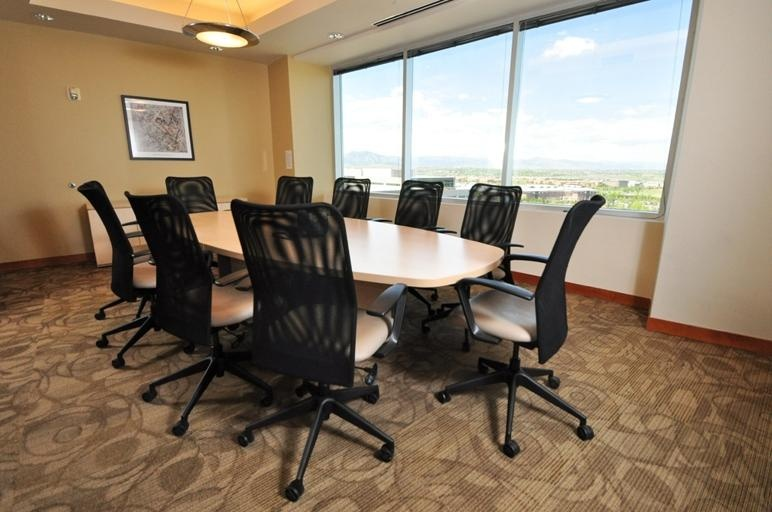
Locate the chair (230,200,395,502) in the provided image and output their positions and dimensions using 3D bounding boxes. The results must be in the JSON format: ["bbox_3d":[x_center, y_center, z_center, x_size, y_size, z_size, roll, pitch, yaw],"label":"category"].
[{"bbox_3d":[-0.476,0.571,3.162,1.142,1.903,0.721,2,18,2],"label":"chair"}]

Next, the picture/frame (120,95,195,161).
[{"bbox_3d":[-3.373,-1.891,6.758,0.042,0.962,1.107,4,9,44],"label":"picture/frame"}]

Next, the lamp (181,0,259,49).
[{"bbox_3d":[-1.664,-2.294,4.782,0.633,0.161,0.697,3,16,4],"label":"lamp"}]

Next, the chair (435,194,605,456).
[{"bbox_3d":[1.039,0.448,3.585,1.292,1.614,1.214,4,11,22],"label":"chair"}]
